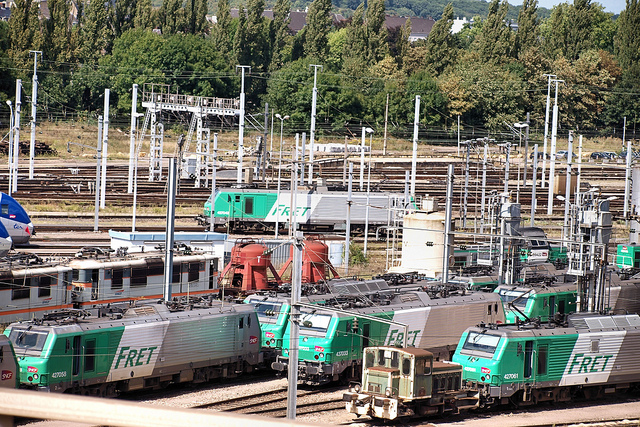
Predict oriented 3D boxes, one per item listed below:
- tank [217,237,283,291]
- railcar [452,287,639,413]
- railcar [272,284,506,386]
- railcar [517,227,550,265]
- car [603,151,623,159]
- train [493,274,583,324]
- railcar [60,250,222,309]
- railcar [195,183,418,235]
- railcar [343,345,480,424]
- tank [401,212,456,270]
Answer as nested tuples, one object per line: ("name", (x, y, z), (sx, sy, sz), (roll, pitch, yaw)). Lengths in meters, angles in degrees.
("tank", (-5.148, 3.863, 106.350), (5.544, 3.724, 4.927), (2, 4, -6))
("railcar", (14.781, 9.806, 94.760), (16.266, 7.573, 5.549), (-4, 6, -30))
("railcar", (5.979, 7.986, 99.066), (18.883, 5.501, 5.101), (-4, 11, -44))
("railcar", (17.531, 2.621, 114.241), (2.450, 2.820, 6.100), (0, -2, 14))
("car", (36.536, -7.371, 170.110), (1.920, 0.692, 1.249), (5, -1, -33))
("train", (15.476, 6.046, 100.540), (7.471, 3.332, 2.628), (-7, 9, -41))
("railcar", (-13.182, 5.069, 102.829), (12.885, 4.427, 2.900), (-3, 12, -39))
("railcar", (-1.156, -0.278, 122.583), (23.150, 4.357, 4.809), (0, -2, -9))
("railcar", (6.181, 11.107, 91.405), (8.425, 3.781, 4.153), (-3, 4, -36))
("tank", (8.619, 2.151, 110.843), (4.270, 4.561, 3.407), (0, 1, 7))
